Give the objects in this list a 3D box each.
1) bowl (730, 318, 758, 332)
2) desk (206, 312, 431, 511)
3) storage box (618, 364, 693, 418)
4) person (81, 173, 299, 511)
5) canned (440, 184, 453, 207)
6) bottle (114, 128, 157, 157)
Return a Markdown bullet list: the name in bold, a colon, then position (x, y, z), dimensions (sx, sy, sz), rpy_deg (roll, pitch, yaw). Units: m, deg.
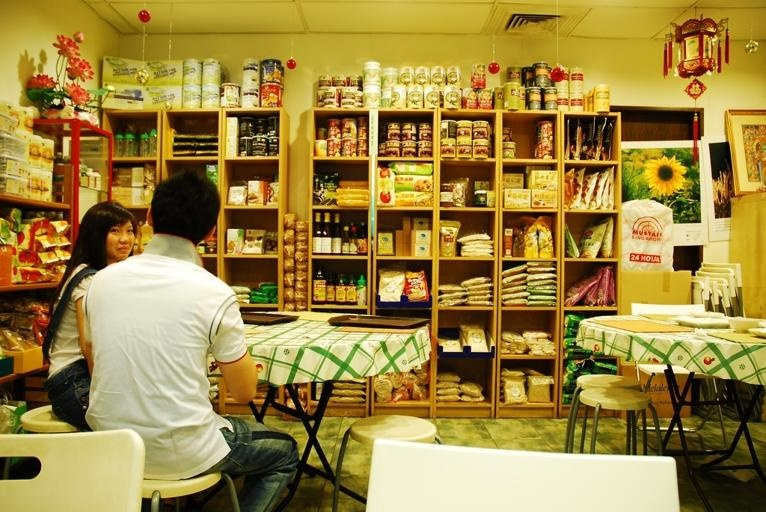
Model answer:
- **bowl**: position (2.430, 0.452, 3.919), dimensions (0.165, 0.100, 0.219), rpy_deg (2, 1, 35)
- **desk**: position (-0.353, 0.849, 4.174), dimensions (1.616, 1.074, 1.517), rpy_deg (0, -7, -2)
- **storage box**: position (2.525, 1.219, 5.456), dimensions (0.674, 0.586, 0.646), rpy_deg (1, 4, 12)
- **person**: position (-0.999, 0.469, 3.071), dimensions (1.009, 1.826, 0.383), rpy_deg (1, 1, -26)
- **canned**: position (0.616, -0.593, 5.493), dimensions (0.120, 0.179, 0.189), rpy_deg (2, 1, 20)
- **bottle**: position (-2.350, -1.076, 5.516), dimensions (0.353, 0.195, 0.115), rpy_deg (0, -2, -4)
